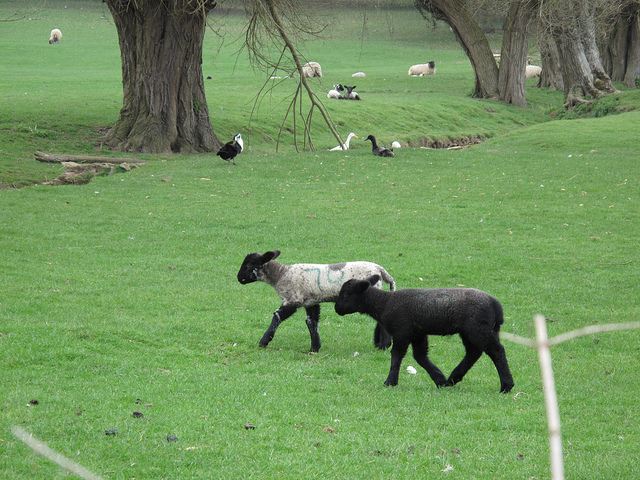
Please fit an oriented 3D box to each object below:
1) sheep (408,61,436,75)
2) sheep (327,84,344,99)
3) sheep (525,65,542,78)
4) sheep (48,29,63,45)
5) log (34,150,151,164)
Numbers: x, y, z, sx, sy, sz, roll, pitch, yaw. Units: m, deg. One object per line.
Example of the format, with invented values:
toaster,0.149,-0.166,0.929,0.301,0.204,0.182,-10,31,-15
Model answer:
sheep,7.998,-13.738,89.395,2.324,1.202,0.864,-4,18,11
sheep,1.040,-9.785,73.853,0.831,1.092,1.742,8,24,21
sheep,17.535,-14.112,93.690,1.086,1.033,2.246,-2,11,9
sheep,-22.580,-17.433,96.010,0.808,1.195,2.229,-4,11,-6
log,-10.499,-3.776,51.054,4.296,0.596,0.640,2,-14,-8
